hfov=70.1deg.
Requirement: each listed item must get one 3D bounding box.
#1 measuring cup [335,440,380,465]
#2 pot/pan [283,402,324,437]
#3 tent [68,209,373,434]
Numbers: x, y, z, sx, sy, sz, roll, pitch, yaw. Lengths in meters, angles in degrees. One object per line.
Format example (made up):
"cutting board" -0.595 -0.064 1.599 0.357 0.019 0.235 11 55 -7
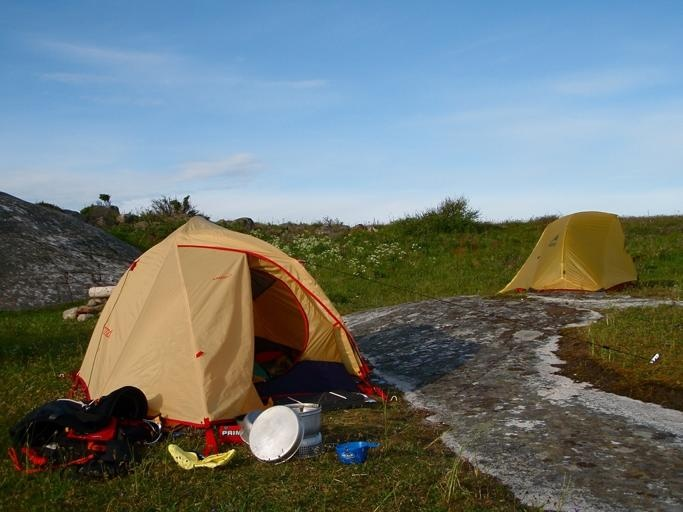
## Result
"measuring cup" 0.182 2.293 5.693 0.369 0.124 0.249 1 -10 -15
"pot/pan" -0.484 2.066 6.119 0.481 0.292 0.500 3 -8 -43
"tent" -2.494 1.023 8.320 3.918 2.160 3.995 1 2 42
